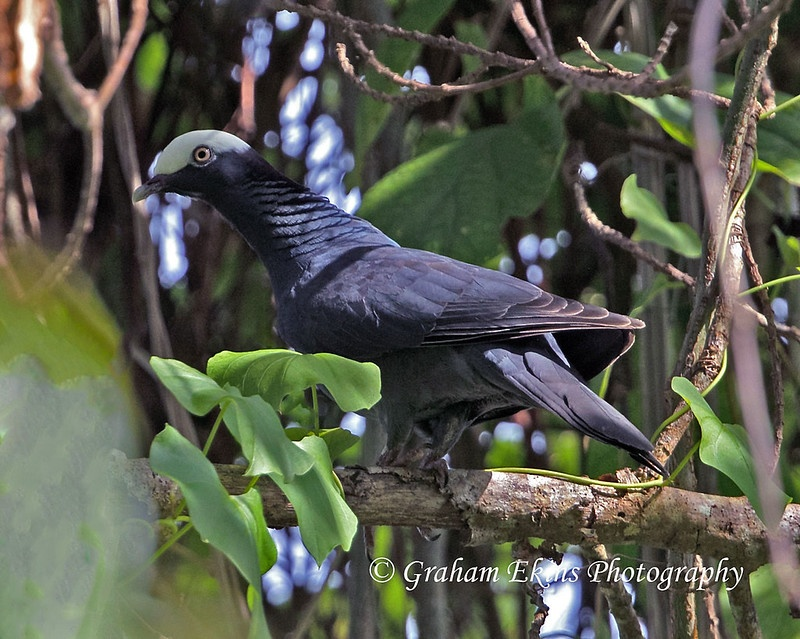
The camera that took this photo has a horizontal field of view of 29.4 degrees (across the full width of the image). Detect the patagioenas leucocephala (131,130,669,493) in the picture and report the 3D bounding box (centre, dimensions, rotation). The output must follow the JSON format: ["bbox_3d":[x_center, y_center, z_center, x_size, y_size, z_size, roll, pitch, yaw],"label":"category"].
[{"bbox_3d":[-0.017,-0.003,4.640,1.484,1.103,0.554,2,-19,5],"label":"patagioenas leucocephala"}]
